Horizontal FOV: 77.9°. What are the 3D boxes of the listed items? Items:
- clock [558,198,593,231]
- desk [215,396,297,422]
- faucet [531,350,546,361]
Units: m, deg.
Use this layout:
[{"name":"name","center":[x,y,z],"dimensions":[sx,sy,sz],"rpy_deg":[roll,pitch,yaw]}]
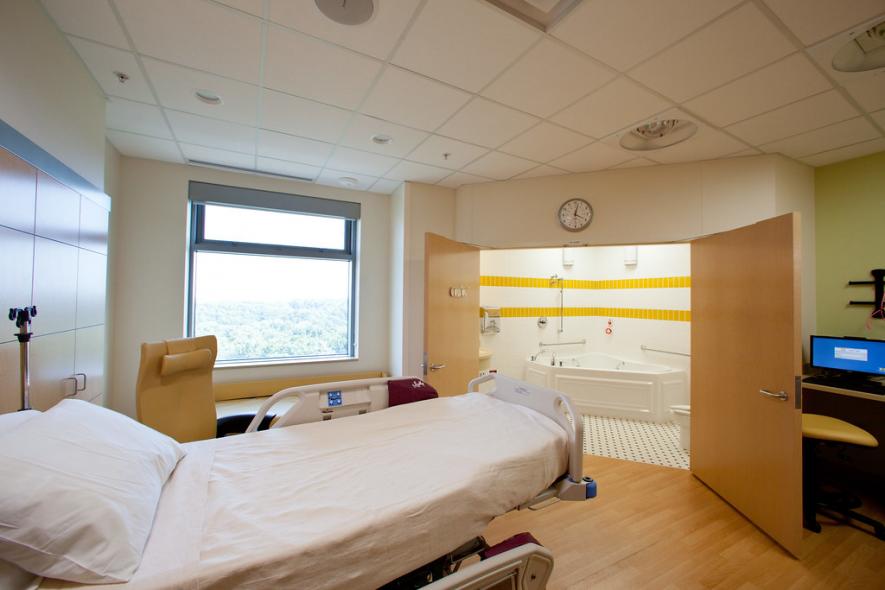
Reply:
[{"name":"clock","center":[1.364,-0.831,5.618],"dimensions":[0.324,0.320,0.070],"rpy_deg":[23,10,24]},{"name":"desk","center":[-1.862,1.117,5.477],"dimensions":[0.671,0.240,0.474],"rpy_deg":[5,-5,-35]},{"name":"faucet","center":[1.300,0.841,7.462],"dimensions":[0.186,0.180,0.108],"rpy_deg":[0,0,-7]}]
